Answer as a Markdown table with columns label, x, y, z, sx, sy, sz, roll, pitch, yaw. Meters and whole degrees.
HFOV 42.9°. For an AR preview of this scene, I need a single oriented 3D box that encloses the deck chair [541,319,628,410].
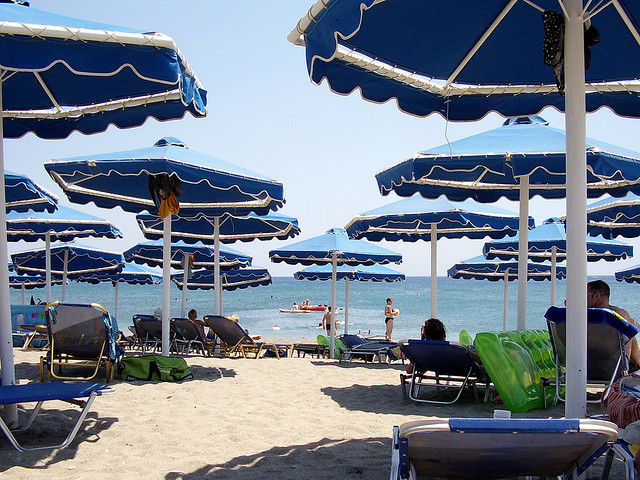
| label | x | y | z | sx | sy | sz | roll | pitch | yaw |
| --- | --- | --- | --- | --- | --- | --- | --- | --- | --- |
| deck chair | 2.985 | 1.274 | 9.089 | 0.896 | 1.254 | 0.849 | 1 | 0 | 3 |

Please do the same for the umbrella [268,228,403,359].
| label | x | y | z | sx | sy | sz | roll | pitch | yaw |
| --- | --- | --- | --- | --- | --- | --- | --- | --- | --- |
| umbrella | 0.500 | 1.127 | 16.352 | 1.710 | 1.657 | 1.733 | 4 | 12 | 20 |

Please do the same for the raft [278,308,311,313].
| label | x | y | z | sx | sy | sz | roll | pitch | yaw |
| --- | --- | --- | --- | --- | --- | --- | --- | --- | --- |
| raft | -1.643 | 4.763 | 54.984 | 1.799 | 0.266 | 0.421 | 4 | -6 | -8 |

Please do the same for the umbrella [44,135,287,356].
| label | x | y | z | sx | sy | sz | roll | pitch | yaw |
| --- | --- | --- | --- | --- | --- | --- | --- | --- | --- |
| umbrella | -2.263 | -0.131 | 12.195 | 3.333 | 3.080 | 3.244 | 11 | 13 | 17 |

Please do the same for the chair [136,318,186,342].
| label | x | y | z | sx | sy | sz | roll | pitch | yaw |
| --- | --- | --- | --- | --- | --- | --- | --- | --- | --- |
| chair | -2.854 | 1.610 | 14.729 | 0.596 | 0.304 | 1.123 | 0 | -15 | 17 |

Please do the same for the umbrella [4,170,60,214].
| label | x | y | z | sx | sy | sz | roll | pitch | yaw |
| --- | --- | --- | --- | --- | --- | --- | --- | --- | --- |
| umbrella | -3.997 | -0.689 | 11.233 | 0.888 | 0.449 | 0.893 | 0 | -8 | -4 |

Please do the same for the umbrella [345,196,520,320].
| label | x | y | z | sx | sy | sz | roll | pitch | yaw |
| --- | --- | --- | --- | --- | --- | --- | --- | --- | --- |
| umbrella | 1.929 | 0.351 | 13.885 | 2.937 | 2.640 | 2.868 | -2 | 10 | -4 |

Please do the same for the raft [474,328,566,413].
| label | x | y | z | sx | sy | sz | roll | pitch | yaw |
| --- | --- | --- | --- | --- | --- | --- | --- | --- | --- |
| raft | 2.820 | 1.559 | 10.416 | 0.690 | 0.926 | 2.637 | 1 | -2 | 36 |

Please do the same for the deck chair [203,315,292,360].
| label | x | y | z | sx | sy | sz | roll | pitch | yaw |
| --- | --- | --- | --- | --- | --- | --- | --- | --- | --- |
| deck chair | -1.519 | 1.658 | 14.292 | 1.222 | 1.055 | 1.282 | 2 | -3 | -40 |

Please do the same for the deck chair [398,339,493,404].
| label | x | y | z | sx | sy | sz | roll | pitch | yaw |
| --- | --- | --- | --- | --- | --- | --- | --- | --- | --- |
| deck chair | 1.539 | 1.611 | 10.233 | 1.059 | 0.970 | 1.007 | -5 | -8 | 44 |

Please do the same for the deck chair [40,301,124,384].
| label | x | y | z | sx | sy | sz | roll | pitch | yaw |
| --- | --- | --- | --- | --- | --- | --- | --- | --- | --- |
| deck chair | -3.218 | 1.307 | 10.947 | 0.771 | 0.952 | 1.403 | 1 | -2 | -2 |

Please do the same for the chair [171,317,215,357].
| label | x | y | z | sx | sy | sz | roll | pitch | yaw |
| --- | --- | --- | --- | --- | --- | --- | --- | --- | --- |
| chair | -2.176 | 1.658 | 14.375 | 0.533 | 0.655 | 1.009 | -1 | -6 | 23 |

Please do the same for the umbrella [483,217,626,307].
| label | x | y | z | sx | sy | sz | roll | pitch | yaw |
| --- | --- | --- | --- | --- | --- | --- | --- | --- | --- |
| umbrella | 4.545 | 0.120 | 16.065 | 2.828 | 2.185 | 2.891 | -1 | -2 | 14 |
